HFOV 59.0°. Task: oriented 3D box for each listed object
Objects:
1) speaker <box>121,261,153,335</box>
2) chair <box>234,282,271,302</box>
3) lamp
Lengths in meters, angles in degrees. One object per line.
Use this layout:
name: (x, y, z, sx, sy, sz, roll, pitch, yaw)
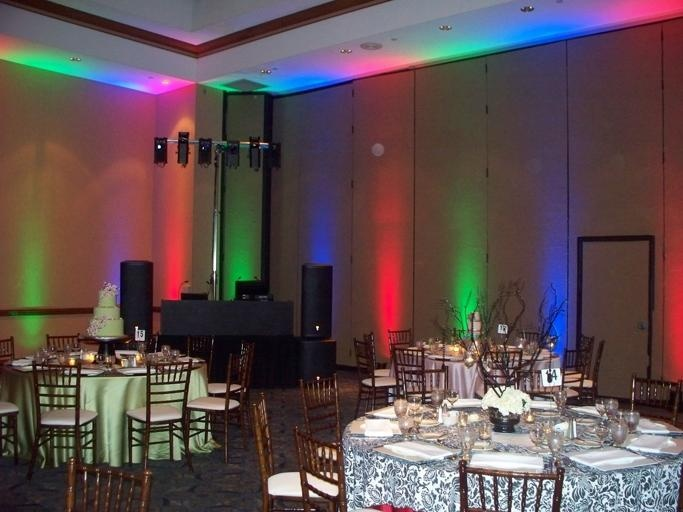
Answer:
speaker: (-3.444, 0.699, 10.106, 0.503, 1.283, 0.460, 1, -4, -23)
chair: (-1.523, 0.598, 10.244, 0.472, 0.354, 0.336, 2, -1, -16)
lamp: (-1.661, -1.814, 10.145, 1.160, 0.397, 0.867, -10, 1, -1)
